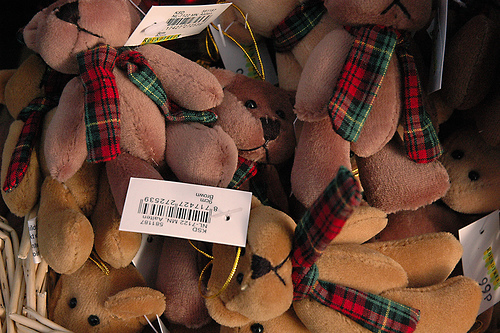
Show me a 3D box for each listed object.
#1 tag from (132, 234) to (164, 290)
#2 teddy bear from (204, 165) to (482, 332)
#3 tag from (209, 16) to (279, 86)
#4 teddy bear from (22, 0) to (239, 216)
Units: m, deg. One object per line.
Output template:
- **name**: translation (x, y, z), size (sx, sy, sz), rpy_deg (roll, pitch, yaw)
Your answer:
- **tag**: translation (-0.294, 0.265, 1.395), size (0.123, 0.030, 0.144), rpy_deg (12, 81, -45)
- **teddy bear**: translation (0.270, 0.184, 1.149), size (0.739, 0.418, 0.330), rpy_deg (5, 56, -3)
- **tag**: translation (-0.045, -0.370, 1.557), size (0.150, 0.286, 0.002), rpy_deg (19, 64, 38)
- **teddy bear**: translation (-0.305, -0.183, 1.272), size (0.490, 0.278, 0.502), rpy_deg (-8, 59, -11)
